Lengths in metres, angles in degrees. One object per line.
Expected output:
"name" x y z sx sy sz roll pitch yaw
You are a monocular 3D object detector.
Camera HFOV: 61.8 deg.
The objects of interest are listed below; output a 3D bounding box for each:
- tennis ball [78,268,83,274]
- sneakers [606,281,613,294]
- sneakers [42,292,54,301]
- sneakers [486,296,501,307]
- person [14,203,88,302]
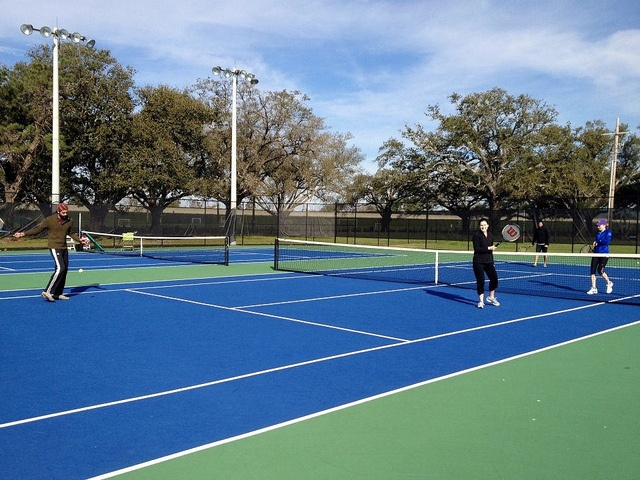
"tennis ball" -8.351 1.116 18.682 0.163 0.115 0.168 7 -1 0
"sneakers" 8.365 1.407 15.466 0.126 0.332 0.106 0 18 12
"sneakers" -6.247 1.325 12.341 0.082 0.203 0.090 -35 18 -6
"sneakers" 4.118 1.491 12.805 0.172 0.157 0.339 -1 4 -21
"person" -6.043 0.319 12.427 0.720 2.250 0.610 -2 5 -21
